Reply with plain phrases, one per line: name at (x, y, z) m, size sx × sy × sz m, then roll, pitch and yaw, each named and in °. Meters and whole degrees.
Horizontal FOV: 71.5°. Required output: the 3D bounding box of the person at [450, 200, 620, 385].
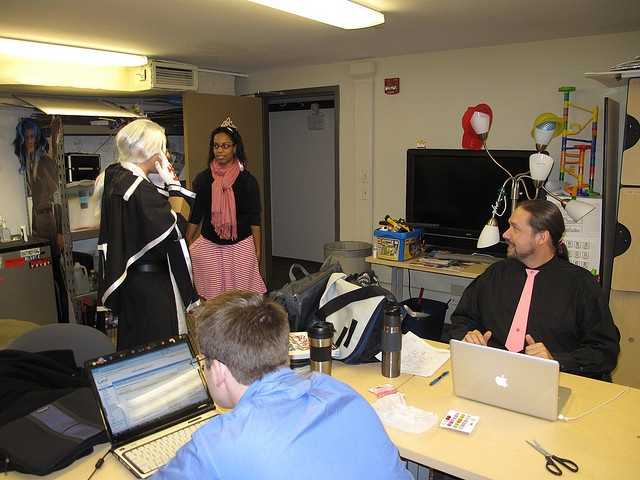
person at (1.211, 0.296, 2.574) m, size 0.563 × 0.970 × 0.964 m, roll 7°, pitch -3°, yaw -29°

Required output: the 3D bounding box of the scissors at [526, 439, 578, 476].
scissors at (0.838, 0.778, 1.607) m, size 0.114 × 0.024 × 0.165 m, roll -3°, pitch 12°, yaw -8°

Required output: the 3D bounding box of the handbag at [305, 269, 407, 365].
handbag at (0.164, 0.389, 2.343) m, size 0.266 × 0.344 × 0.461 m, roll 6°, pitch 16°, yaw -43°

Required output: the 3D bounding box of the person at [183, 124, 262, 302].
person at (-0.840, -0.116, 3.974) m, size 0.742 × 1.826 × 0.527 m, roll 0°, pitch 26°, yaw -13°

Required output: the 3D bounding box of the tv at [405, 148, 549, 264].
tv at (1.394, -0.327, 4.166) m, size 1.216 × 1.064 × 0.286 m, roll 8°, pitch 23°, yaw 33°

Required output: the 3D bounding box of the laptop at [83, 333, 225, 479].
laptop at (-0.626, 0.589, 1.686) m, size 0.457 × 0.340 × 0.393 m, roll -19°, pitch 25°, yaw -42°

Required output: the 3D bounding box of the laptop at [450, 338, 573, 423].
laptop at (0.756, 0.463, 1.805) m, size 0.425 × 0.308 × 0.308 m, roll 7°, pitch 17°, yaw 34°

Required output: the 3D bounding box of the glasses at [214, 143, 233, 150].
glasses at (-0.834, -0.803, 3.809) m, size 0.186 × 0.040 × 0.079 m, roll -1°, pitch 12°, yaw 0°

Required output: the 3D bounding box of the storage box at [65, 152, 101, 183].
storage box at (-2.438, -0.758, 4.560) m, size 0.265 × 0.331 × 0.455 m, roll 5°, pitch 11°, yaw 24°

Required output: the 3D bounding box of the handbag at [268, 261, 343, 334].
handbag at (-0.114, 0.328, 2.522) m, size 0.421 × 0.403 × 0.218 m, roll -11°, pitch 17°, yaw 11°

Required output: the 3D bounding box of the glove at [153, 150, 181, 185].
glove at (-1.049, -0.479, 3.018) m, size 0.048 × 0.194 × 0.133 m, roll 12°, pitch 50°, yaw 37°

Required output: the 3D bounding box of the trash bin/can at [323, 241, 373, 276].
trash bin/can at (0.298, 0.220, 4.653) m, size 0.393 × 0.361 × 0.463 m, roll 0°, pitch 13°, yaw 3°
